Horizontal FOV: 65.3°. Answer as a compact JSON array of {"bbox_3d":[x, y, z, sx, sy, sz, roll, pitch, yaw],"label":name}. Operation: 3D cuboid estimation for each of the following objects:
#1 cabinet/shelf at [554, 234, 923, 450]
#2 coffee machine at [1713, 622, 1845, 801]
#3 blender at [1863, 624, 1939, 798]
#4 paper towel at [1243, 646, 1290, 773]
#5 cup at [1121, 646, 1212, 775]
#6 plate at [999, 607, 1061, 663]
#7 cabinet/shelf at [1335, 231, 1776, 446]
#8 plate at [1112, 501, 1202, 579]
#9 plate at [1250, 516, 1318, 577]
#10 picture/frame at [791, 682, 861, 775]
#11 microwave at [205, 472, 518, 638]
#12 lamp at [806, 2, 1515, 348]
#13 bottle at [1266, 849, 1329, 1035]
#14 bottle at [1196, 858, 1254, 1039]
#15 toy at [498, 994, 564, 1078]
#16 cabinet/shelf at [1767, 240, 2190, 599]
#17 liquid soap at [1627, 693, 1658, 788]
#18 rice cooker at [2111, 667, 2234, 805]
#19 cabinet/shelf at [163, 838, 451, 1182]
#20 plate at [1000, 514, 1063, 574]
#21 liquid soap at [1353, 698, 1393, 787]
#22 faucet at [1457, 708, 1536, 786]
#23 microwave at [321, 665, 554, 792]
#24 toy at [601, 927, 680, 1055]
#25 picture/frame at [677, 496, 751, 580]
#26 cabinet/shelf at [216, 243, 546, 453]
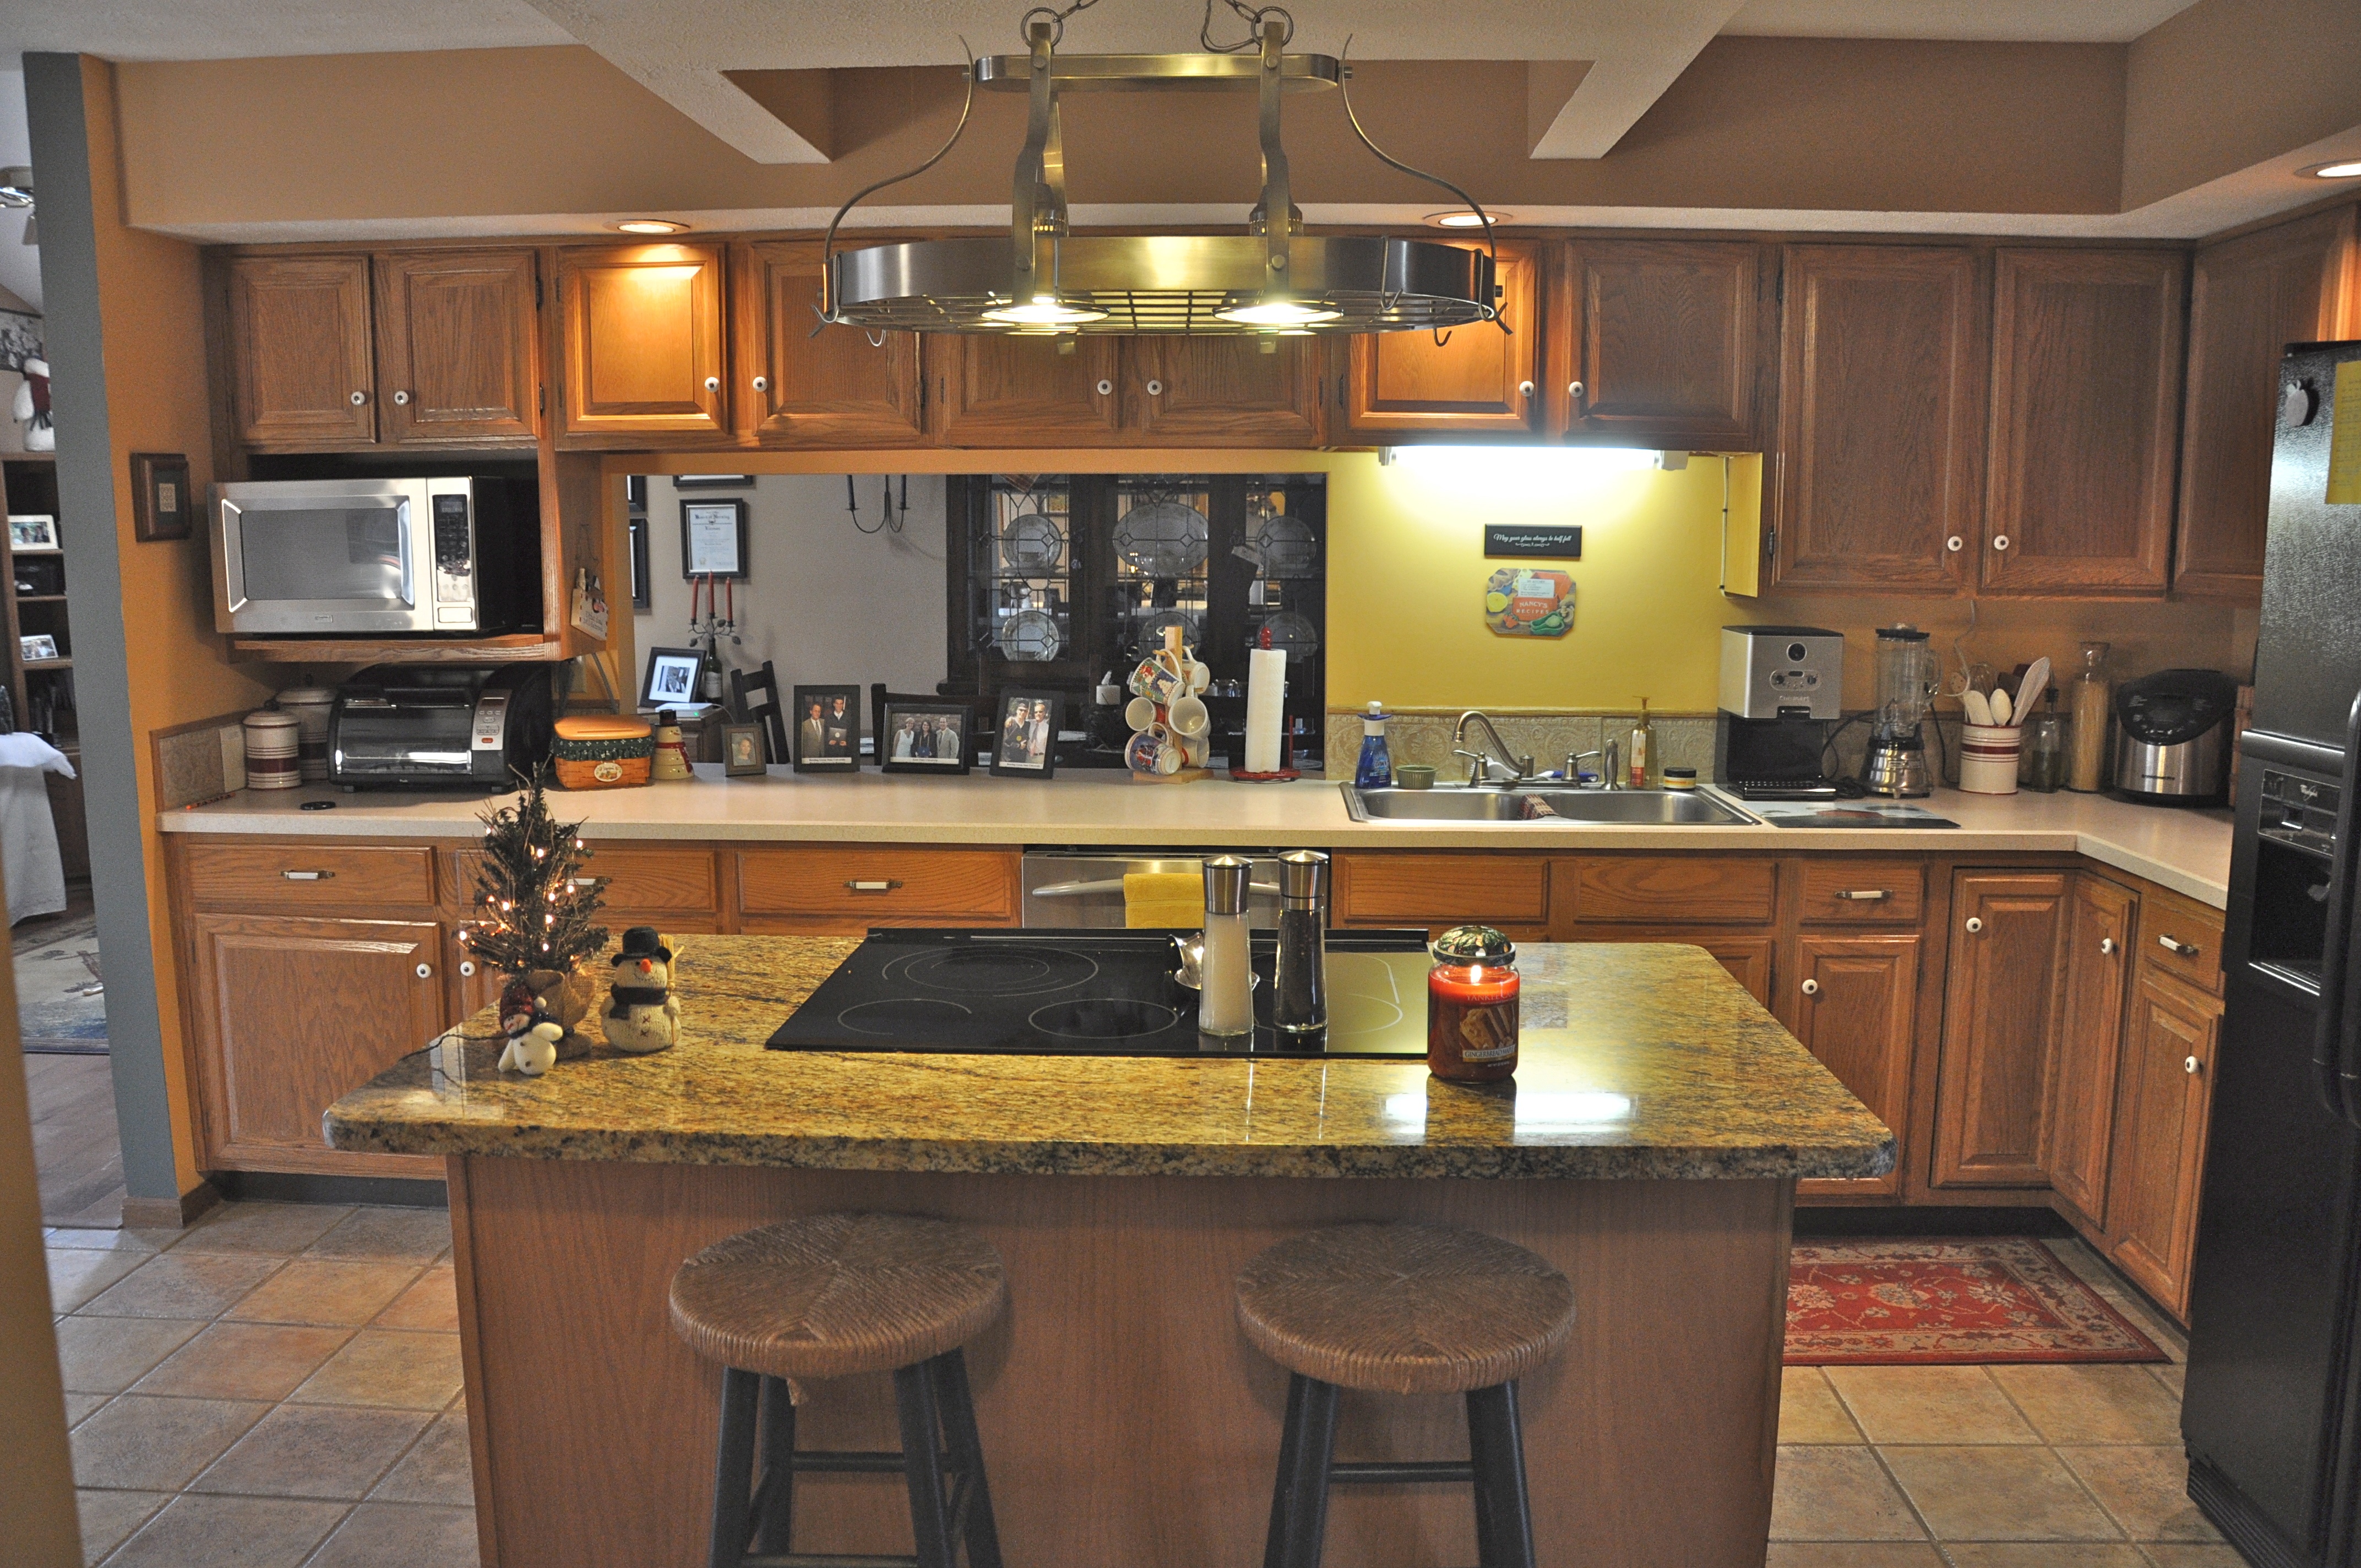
[{"bbox_3d":[-1.228,-1.255,5.163,0.832,0.384,0.256,0,3,1],"label":"cabinet/shelf"},{"bbox_3d":[1.820,-0.224,5.605,0.371,0.505,0.321,1,8,16],"label":"coffee machine"},{"bbox_3d":[2.194,-0.226,5.600,0.202,0.499,0.346,2,9,22],"label":"blender"},{"bbox_3d":[0.254,-0.216,5.703,0.115,0.391,0.072,-1,8,1],"label":"paper towel"},{"bbox_3d":[-0.044,-0.245,5.635,0.232,0.449,0.188,-2,8,-5],"label":"cup"},{"bbox_3d":[-0.707,-0.689,8.593,0.314,0.246,0.032,2,9,23],"label":"plate"},{"bbox_3d":[1.043,-1.330,5.463,1.228,0.505,0.374,1,6,-3],"label":"cabinet/shelf"},{"bbox_3d":[-0.085,-1.102,8.197,0.391,0.346,0.101,-1,8,-2],"label":"plate"},{"bbox_3d":[0.459,-1.046,8.161,0.285,0.285,0.074,-1,8,3],"label":"plate"},{"bbox_3d":[-1.118,-0.165,5.796,0.312,0.394,0.042,0,3,-3],"label":"picture/frame"},{"bbox_3d":[-2.446,-0.669,5.650,0.866,0.495,0.512,0,1,6],"label":"microwave"},{"bbox_3d":[-0.040,-1.210,3.598,1.039,0.373,0.851,0,4,1],"label":"lamp"},{"bbox_3d":[0.232,0.317,3.657,0.103,0.378,0.167,-1,8,3],"label":"bottle"},{"bbox_3d":[0.089,0.322,3.707,0.110,0.366,0.172,-1,8,1],"label":"bottle"},{"bbox_3d":[-1.294,0.487,3.641,0.128,0.154,0.148,-2,8,-6],"label":"toy"},{"bbox_3d":[2.291,-1.055,5.535,1.340,1.043,0.484,-2,6,-14],"label":"cabinet/shelf"},{"bbox_3d":[1.435,-0.125,5.727,0.087,0.264,0.171,1,8,14],"label":"liquid soap"},{"bbox_3d":[2.956,-0.158,5.462,0.329,0.385,0.375,4,16,29],"label":"rice cooker"},{"bbox_3d":[-2.462,0.583,5.688,0.971,1.082,0.863,-1,14,-10],"label":"cabinet/shelf"},{"bbox_3d":[-0.693,-1.103,8.516,0.321,0.276,0.047,3,9,30],"label":"plate"},{"bbox_3d":[0.599,-0.121,5.706,0.114,0.249,0.264,0,8,6],"label":"liquid soap"},{"bbox_3d":[0.989,-0.114,5.747,0.262,0.222,0.152,0,8,6],"label":"faucet"},{"bbox_3d":[-2.256,-0.168,5.585,0.603,0.374,0.407,0,-2,2],"label":"microwave"},{"bbox_3d":[-1.111,0.427,3.713,0.171,0.235,0.156,5,-11,-38],"label":"toy"},{"bbox_3d":[-2.340,-1.252,9.228,0.417,0.445,0.037,3,15,2],"label":"picture/frame"},{"bbox_3d":[-2.340,-1.297,5.695,1.051,0.619,0.501,0,4,7],"label":"cabinet/shelf"}]
